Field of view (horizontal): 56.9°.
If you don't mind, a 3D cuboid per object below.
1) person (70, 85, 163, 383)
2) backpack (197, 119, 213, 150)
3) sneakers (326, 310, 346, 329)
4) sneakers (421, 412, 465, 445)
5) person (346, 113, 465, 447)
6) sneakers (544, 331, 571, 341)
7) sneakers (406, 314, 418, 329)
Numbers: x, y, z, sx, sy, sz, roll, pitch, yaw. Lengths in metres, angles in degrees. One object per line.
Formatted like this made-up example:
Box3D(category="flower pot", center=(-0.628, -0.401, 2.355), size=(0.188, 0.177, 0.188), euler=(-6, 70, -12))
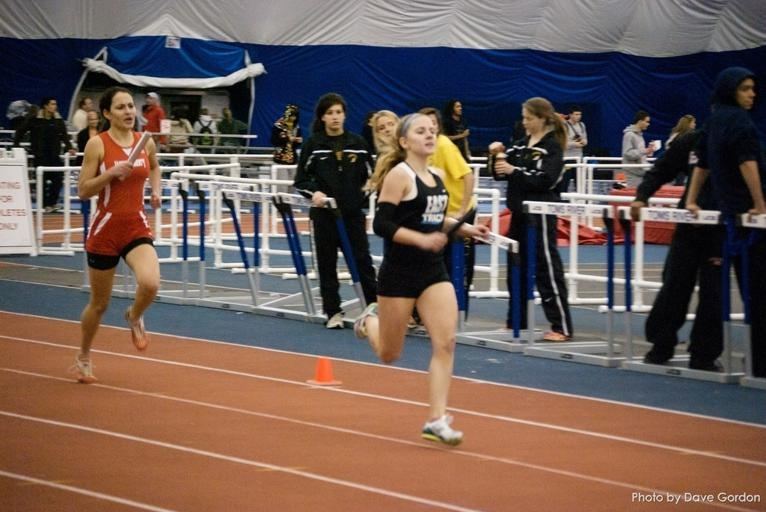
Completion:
Box3D(category="person", center=(-2.464, -0.199, 6.568), size=(0.731, 2.773, 0.856), euler=(1, 5, -17))
Box3D(category="backpack", center=(-5.728, -3.947, 22.841), size=(0.659, 0.937, 0.248), euler=(0, -2, -7))
Box3D(category="sneakers", center=(-0.595, 0.822, 8.987), size=(0.277, 0.225, 0.151), euler=(4, -17, -1))
Box3D(category="sneakers", center=(0.442, 1.271, 5.131), size=(0.282, 0.235, 0.193), euler=(3, 5, 17))
Box3D(category="person", center=(0.252, 0.137, 5.306), size=(0.897, 2.442, 0.620), euler=(4, 5, 15))
Box3D(category="sneakers", center=(2.006, 0.916, 8.144), size=(0.248, 0.087, 0.130), euler=(-2, 0, 8))
Box3D(category="sneakers", center=(0.376, 0.818, 8.754), size=(0.157, 0.162, 0.424), euler=(0, -9, -1))
